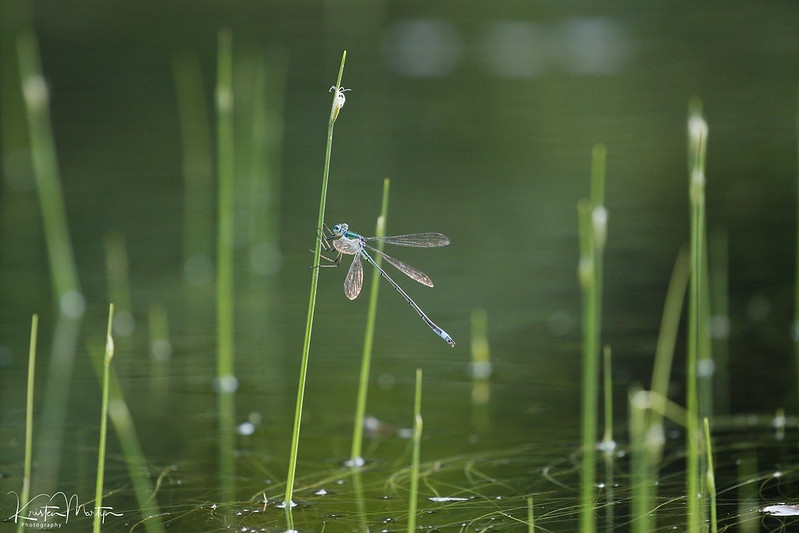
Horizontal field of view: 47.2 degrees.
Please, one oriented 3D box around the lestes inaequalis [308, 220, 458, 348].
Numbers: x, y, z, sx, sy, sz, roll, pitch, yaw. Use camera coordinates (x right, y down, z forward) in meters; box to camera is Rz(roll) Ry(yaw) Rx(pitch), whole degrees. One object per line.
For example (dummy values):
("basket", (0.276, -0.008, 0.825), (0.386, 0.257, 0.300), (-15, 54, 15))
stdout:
("lestes inaequalis", (-0.027, 0.032, 1.478), (0.220, 0.163, 0.044), (31, -47, -6))
